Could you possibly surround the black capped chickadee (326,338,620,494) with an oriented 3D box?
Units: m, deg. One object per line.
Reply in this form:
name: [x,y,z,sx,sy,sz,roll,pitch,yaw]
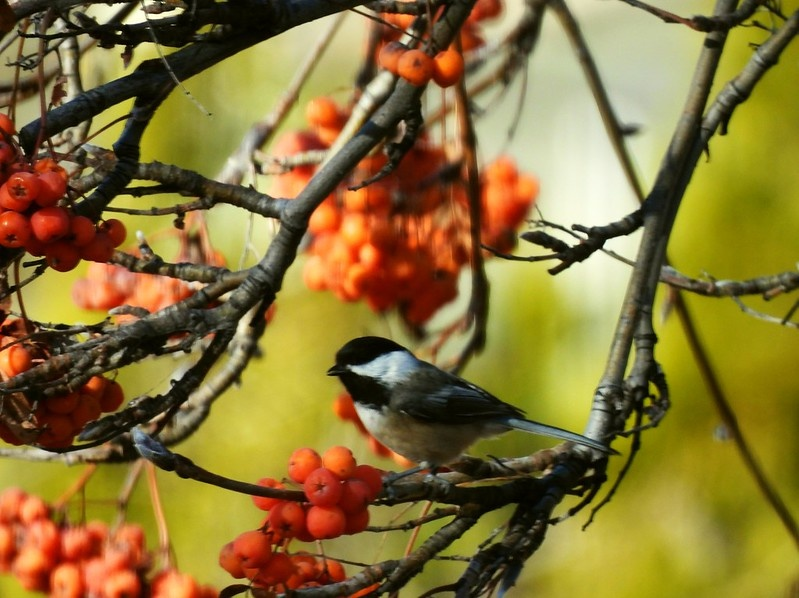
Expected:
black capped chickadee: [0.250,0.431,4.579,1.011,0.347,0.536,4,-87,-3]
